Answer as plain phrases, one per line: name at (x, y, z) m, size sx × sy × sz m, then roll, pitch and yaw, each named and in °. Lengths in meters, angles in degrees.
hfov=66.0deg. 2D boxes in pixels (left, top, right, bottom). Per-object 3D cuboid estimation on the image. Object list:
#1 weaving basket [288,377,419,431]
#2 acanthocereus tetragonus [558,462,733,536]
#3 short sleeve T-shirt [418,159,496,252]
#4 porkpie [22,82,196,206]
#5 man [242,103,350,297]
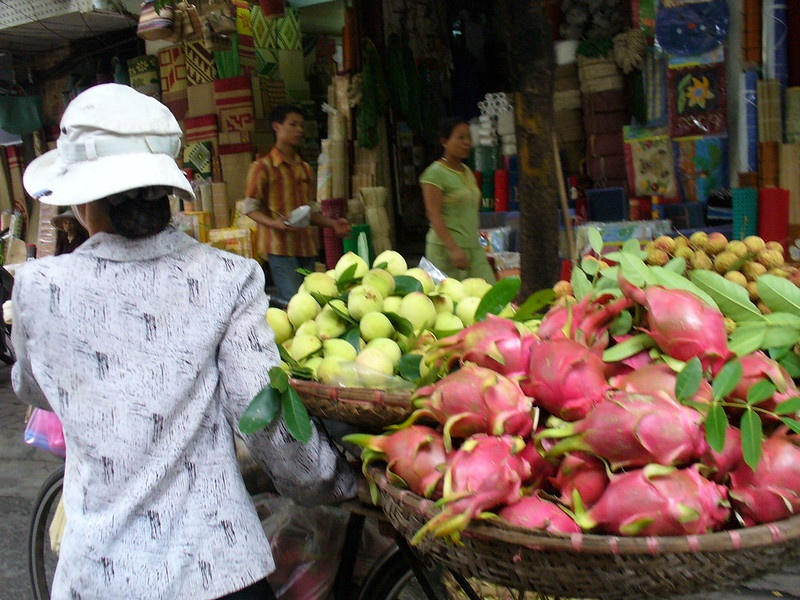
weaving basket at (-0.133, 0.272, 1.596) m, size 0.285 × 0.105 × 0.308 m, roll 13°, pitch -6°, yaw -32°
acanthocereus tetragonus at (0.434, 0.346, 1.050) m, size 0.198 × 0.111 × 0.137 m, roll -7°, pitch 2°, yaw -5°
short sleeve T-shirt at (0.367, -0.606, 4.040) m, size 0.298 × 0.605 × 0.561 m, roll 2°, pitch 6°, yaw 40°
porkpie at (-0.703, -0.349, 1.449) m, size 0.328 × 0.200 × 0.313 m, roll -11°, pitch 16°, yaw -42°
man at (-0.769, -0.459, 4.592) m, size 0.607 × 1.880 × 0.631 m, roll 4°, pitch 14°, yaw 13°
